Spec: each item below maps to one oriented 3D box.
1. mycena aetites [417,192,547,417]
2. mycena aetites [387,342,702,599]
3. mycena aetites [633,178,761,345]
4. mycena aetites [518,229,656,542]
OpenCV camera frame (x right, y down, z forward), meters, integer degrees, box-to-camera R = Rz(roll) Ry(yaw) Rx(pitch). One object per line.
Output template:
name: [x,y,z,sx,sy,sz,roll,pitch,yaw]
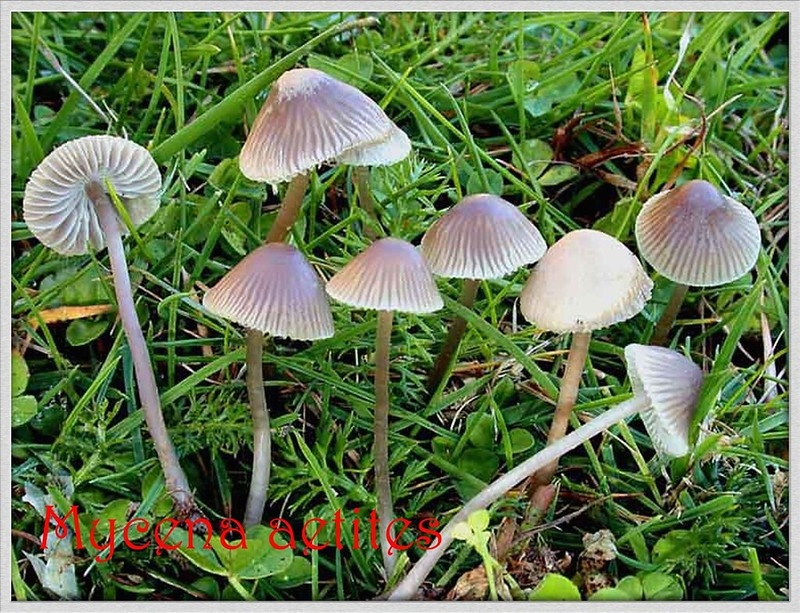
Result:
mycena aetites: [0.137,-0.025,2.172,0.388,0.713,0.362,12,35,2]
mycena aetites: [0.371,0.349,2.005,0.907,0.461,0.390,-30,17,-5]
mycena aetites: [0.810,-0.149,2.216,0.291,0.468,0.349,-9,61,-1]
mycena aetites: [0.415,0.136,1.945,0.291,0.624,0.567,24,45,17]
